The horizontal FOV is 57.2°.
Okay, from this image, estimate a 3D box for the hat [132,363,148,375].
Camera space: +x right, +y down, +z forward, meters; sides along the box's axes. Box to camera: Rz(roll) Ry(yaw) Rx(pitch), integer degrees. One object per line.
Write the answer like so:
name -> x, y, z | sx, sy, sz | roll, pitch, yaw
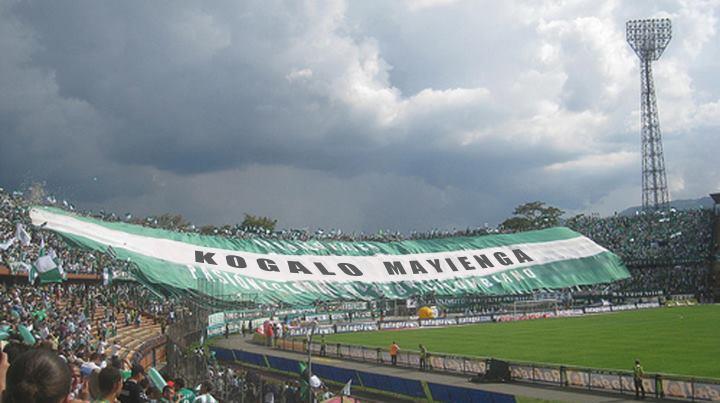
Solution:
hat -> -18.624, 14.132, 55.832 | 0.796, 0.901, 0.948 | 7, 3, 16
